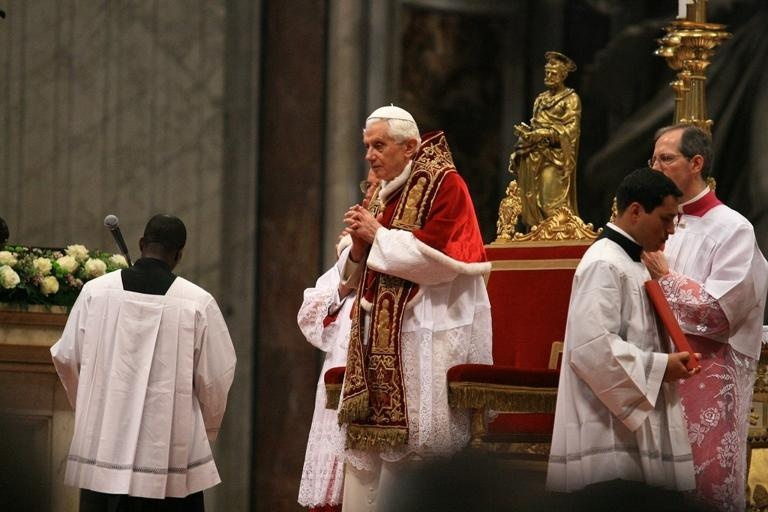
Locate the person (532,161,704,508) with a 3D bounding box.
[{"bbox_3d":[1.449,0.425,9.083,0.854,1.617,0.355,2,1,9],"label":"person"}]

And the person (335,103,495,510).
[{"bbox_3d":[0.195,0.317,9.656,0.946,1.973,0.491,2,1,-2],"label":"person"}]

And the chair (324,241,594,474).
[{"bbox_3d":[1.050,0.584,10.314,1.058,1.431,1.093,-23,16,-39],"label":"chair"}]

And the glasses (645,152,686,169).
[{"bbox_3d":[1.781,-0.610,9.700,0.154,0.038,0.152,5,-9,-26],"label":"glasses"}]

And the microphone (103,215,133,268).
[{"bbox_3d":[-1.996,-0.102,11.333,0.110,0.459,0.096,-35,30,-18],"label":"microphone"}]
